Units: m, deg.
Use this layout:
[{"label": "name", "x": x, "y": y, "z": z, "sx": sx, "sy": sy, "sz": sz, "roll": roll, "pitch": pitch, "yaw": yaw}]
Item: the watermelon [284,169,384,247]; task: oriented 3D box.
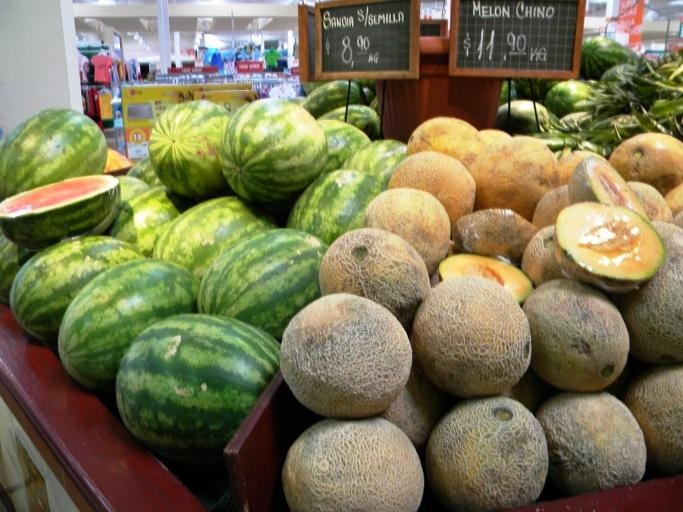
[{"label": "watermelon", "x": 0.120, "y": -0.281, "z": 1.858, "sx": 0.233, "sy": 0.217, "sz": 0.195, "roll": -11, "pitch": -19, "yaw": 20}]

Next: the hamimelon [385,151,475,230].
[{"label": "hamimelon", "x": 0.234, "y": -0.192, "z": 1.406, "sx": 0.186, "sy": 0.197, "sz": 0.168, "roll": -11, "pitch": 19, "yaw": -34}]

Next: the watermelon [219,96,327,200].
[{"label": "watermelon", "x": -0.177, "y": -0.307, "z": 1.667, "sx": 0.228, "sy": 0.287, "sz": 0.328, "roll": -4, "pitch": 6, "yaw": 27}]

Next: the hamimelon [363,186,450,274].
[{"label": "hamimelon", "x": 0.162, "y": -0.031, "z": 1.279, "sx": 0.172, "sy": 0.215, "sz": 0.175, "roll": -7, "pitch": -6, "yaw": 26}]

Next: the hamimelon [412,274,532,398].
[{"label": "hamimelon", "x": 0.267, "y": 0.140, "z": 1.116, "sx": 0.219, "sy": 0.224, "sz": 0.220, "roll": 4, "pitch": 11, "yaw": 11}]

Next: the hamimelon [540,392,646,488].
[{"label": "hamimelon", "x": 0.493, "y": 0.356, "z": 1.121, "sx": 0.184, "sy": 0.182, "sz": 0.206, "roll": 6, "pitch": 11, "yaw": 12}]

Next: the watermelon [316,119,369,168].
[{"label": "watermelon", "x": 0.000, "y": -0.423, "z": 1.947, "sx": 0.139, "sy": 0.207, "sz": 0.172, "roll": 11, "pitch": 19, "yaw": 31}]

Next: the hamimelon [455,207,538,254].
[{"label": "hamimelon", "x": 0.371, "y": -0.077, "z": 1.284, "sx": 0.155, "sy": 0.116, "sz": 0.125, "roll": -6, "pitch": 10, "yaw": -34}]

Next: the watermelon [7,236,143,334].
[{"label": "watermelon", "x": -0.762, "y": 0.069, "z": 1.577, "sx": 0.341, "sy": 0.238, "sz": 0.229, "roll": -24, "pitch": 12, "yaw": -23}]

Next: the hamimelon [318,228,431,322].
[{"label": "hamimelon", "x": 0.063, "y": 0.001, "z": 1.162, "sx": 0.200, "sy": 0.195, "sz": 0.229, "roll": -6, "pitch": 12, "yaw": -24}]

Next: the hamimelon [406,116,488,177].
[{"label": "hamimelon", "x": 0.313, "y": -0.340, "z": 1.628, "sx": 0.186, "sy": 0.179, "sz": 0.197, "roll": -10, "pitch": 15, "yaw": -32}]

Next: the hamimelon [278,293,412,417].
[{"label": "hamimelon", "x": 0.008, "y": 0.191, "z": 0.984, "sx": 0.239, "sy": 0.203, "sz": 0.120, "roll": 0, "pitch": 20, "yaw": 7}]

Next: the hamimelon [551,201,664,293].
[{"label": "hamimelon", "x": 0.540, "y": -0.015, "z": 1.076, "sx": 0.205, "sy": 0.142, "sz": 0.153, "roll": 8, "pitch": 24, "yaw": 26}]
